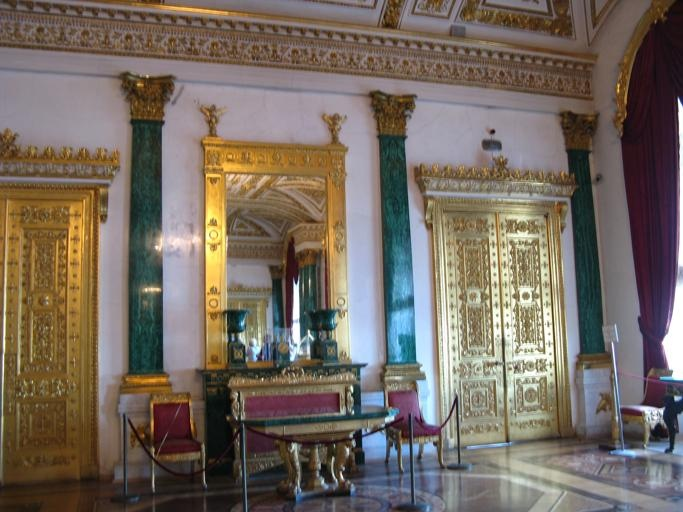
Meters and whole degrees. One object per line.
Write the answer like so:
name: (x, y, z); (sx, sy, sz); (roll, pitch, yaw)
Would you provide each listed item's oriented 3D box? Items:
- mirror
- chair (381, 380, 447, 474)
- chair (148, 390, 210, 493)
mirror: (-1.009, -0.334, 11.180); (2.280, 3.981, 0.226); (0, -8, -15)
chair: (1.019, 2.606, 10.817); (0.861, 1.595, 1.066); (6, -20, -20)
chair: (-2.315, 2.608, 10.106); (0.768, 1.310, 0.925); (0, -8, -18)
